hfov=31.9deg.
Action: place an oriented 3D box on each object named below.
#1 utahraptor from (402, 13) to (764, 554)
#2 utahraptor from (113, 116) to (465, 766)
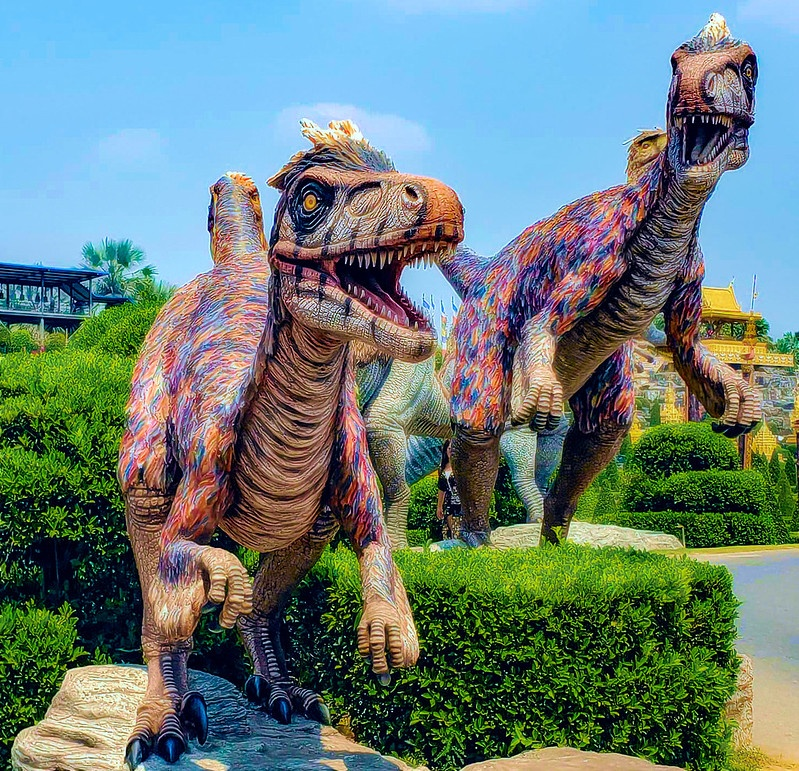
[{"bbox_3d":[0.812,-0.361,8.095,1.149,2.843,3.597,18,-15,-24],"label":"utahraptor"},{"bbox_3d":[-0.579,0.033,6.305,1.062,2.143,2.217,4,-2,-31],"label":"utahraptor"}]
